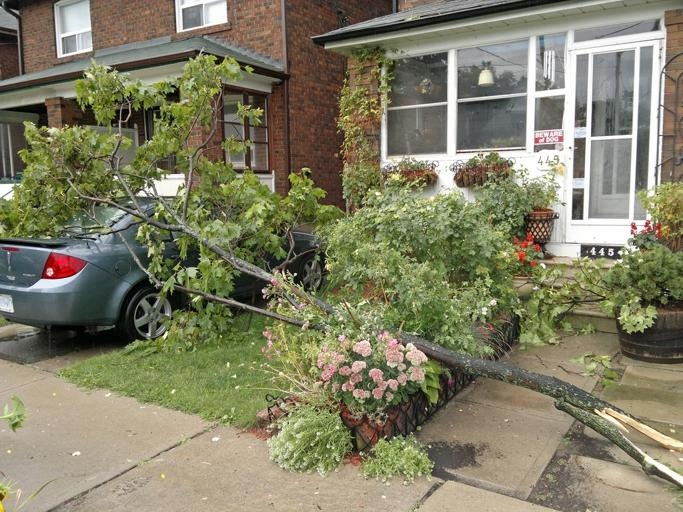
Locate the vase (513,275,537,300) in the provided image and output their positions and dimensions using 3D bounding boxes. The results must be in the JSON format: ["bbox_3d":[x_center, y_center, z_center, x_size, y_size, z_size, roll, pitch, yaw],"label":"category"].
[{"bbox_3d":[2.276,0.407,7.094,0.266,0.189,0.263,2,4,25],"label":"vase"}]
